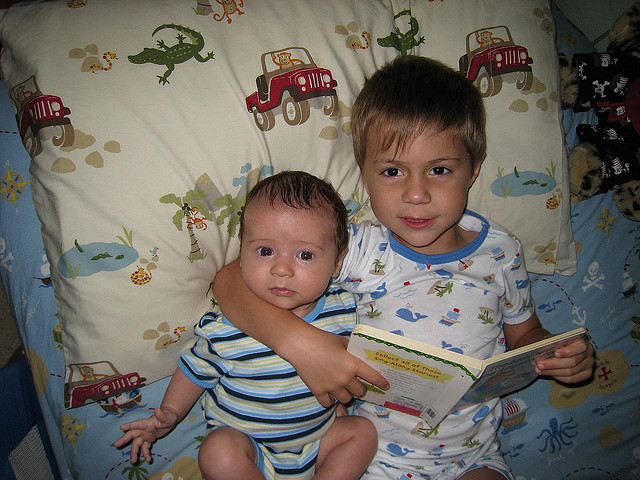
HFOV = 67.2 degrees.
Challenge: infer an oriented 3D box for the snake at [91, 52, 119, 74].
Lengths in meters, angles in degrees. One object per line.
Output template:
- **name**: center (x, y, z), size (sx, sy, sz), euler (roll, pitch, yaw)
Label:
- **snake**: center (-0.630, -0.514, 1.394), size (0.078, 0.048, 0.021), euler (-19, 20, -19)

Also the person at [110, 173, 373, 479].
- **person**: center (-0.241, 0.250, 1.476), size (0.795, 0.801, 0.459), euler (-8, 22, -20)
